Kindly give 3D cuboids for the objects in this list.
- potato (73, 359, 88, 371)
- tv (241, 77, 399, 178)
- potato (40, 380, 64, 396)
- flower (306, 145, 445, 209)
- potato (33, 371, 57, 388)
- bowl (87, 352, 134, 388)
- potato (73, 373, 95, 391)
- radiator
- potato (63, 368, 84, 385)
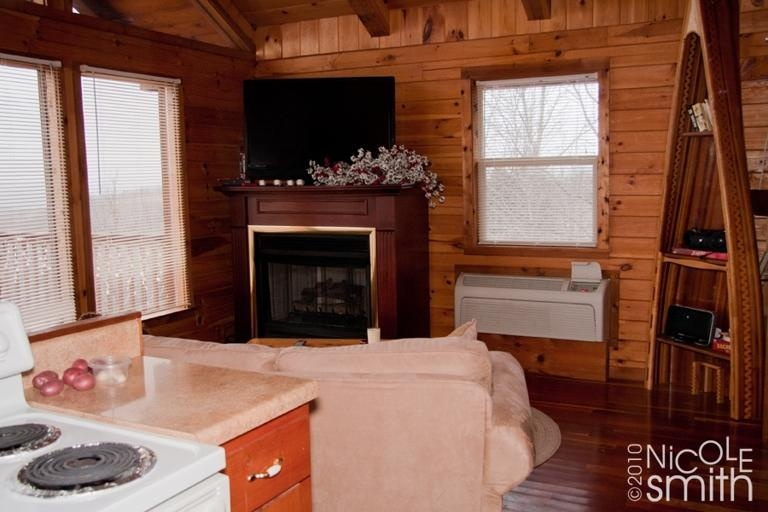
[{"bbox_3d":[-1.107,0.392,1.974,0.044,0.022,0.044,14,7,-40],"label":"potato"},{"bbox_3d":[-0.534,-1.191,4.908,1.258,0.685,0.117,0,7,9],"label":"tv"},{"bbox_3d":[-1.150,0.453,1.873,0.052,0.033,0.063,11,9,-14],"label":"potato"},{"bbox_3d":[0.029,-0.759,4.724,0.927,0.331,0.766,14,22,40],"label":"flower"},{"bbox_3d":[-1.203,0.423,1.917,0.065,0.037,0.077,-4,7,-7],"label":"potato"},{"bbox_3d":[-1.000,0.412,1.975,0.125,0.057,0.122,1,-3,0],"label":"bowl"},{"bbox_3d":[-1.059,0.435,1.898,0.057,0.035,0.068,5,6,-25],"label":"potato"},{"bbox_3d":[1.234,0.346,4.621,1.244,0.596,0.326,2,14,19],"label":"radiator"},{"bbox_3d":[-1.120,0.426,1.929,0.059,0.031,0.064,-4,10,-25],"label":"potato"}]
